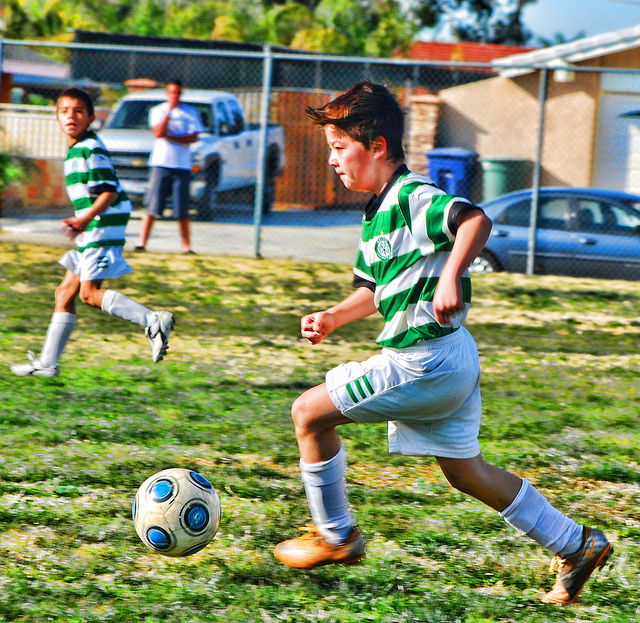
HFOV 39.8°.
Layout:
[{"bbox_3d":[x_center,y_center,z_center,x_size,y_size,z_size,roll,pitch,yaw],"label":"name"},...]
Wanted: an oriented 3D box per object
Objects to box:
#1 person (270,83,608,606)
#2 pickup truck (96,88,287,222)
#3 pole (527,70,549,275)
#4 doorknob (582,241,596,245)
[{"bbox_3d":[0.378,0.134,3.050,1.047,1.770,0.457,12,16,28],"label":"person"},{"bbox_3d":[-1.628,-2.094,12.002,1.908,1.240,3.301,3,8,19],"label":"pickup truck"},{"bbox_3d":[2.300,-1.430,9.307,0.202,1.675,0.190,18,24,32],"label":"pole"},{"bbox_3d":[2.886,-0.731,9.453,0.130,0.044,0.021,7,14,20],"label":"doorknob"}]
